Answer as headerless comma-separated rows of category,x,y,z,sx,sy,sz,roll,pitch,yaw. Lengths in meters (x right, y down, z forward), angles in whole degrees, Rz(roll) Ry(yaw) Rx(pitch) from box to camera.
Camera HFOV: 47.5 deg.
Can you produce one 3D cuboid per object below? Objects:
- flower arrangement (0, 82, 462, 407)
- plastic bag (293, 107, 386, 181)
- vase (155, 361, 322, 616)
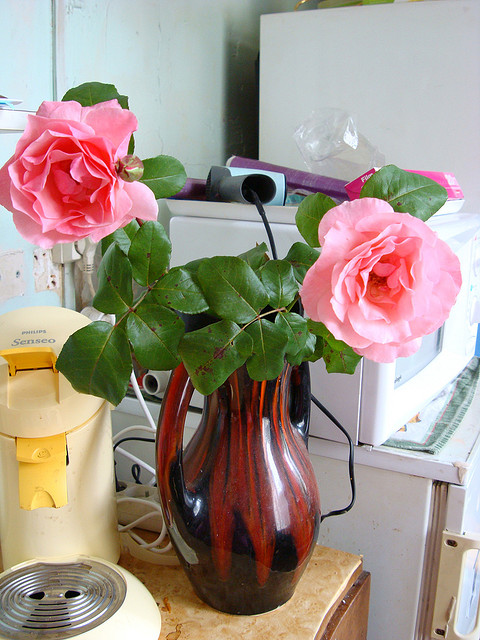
flower arrangement,0.004,-0.047,0.353,0.275,0.198,0.178,-1,12,-10
plastic bag,0.205,-0.309,1.144,0.117,0.136,0.170,21,58,2
vase,0.000,0.144,0.532,0.174,0.246,0.147,-6,9,-35
